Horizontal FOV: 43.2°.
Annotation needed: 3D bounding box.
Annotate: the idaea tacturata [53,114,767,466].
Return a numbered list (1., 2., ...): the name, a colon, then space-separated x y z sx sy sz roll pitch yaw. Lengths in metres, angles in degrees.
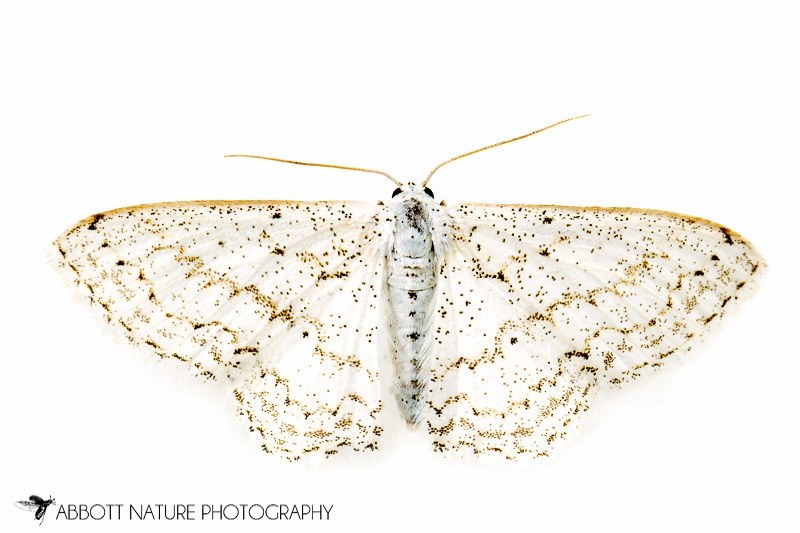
1. idaea tacturata: 0.058 0.337 7.998 5.377 2.578 0.592 0 4 -1
